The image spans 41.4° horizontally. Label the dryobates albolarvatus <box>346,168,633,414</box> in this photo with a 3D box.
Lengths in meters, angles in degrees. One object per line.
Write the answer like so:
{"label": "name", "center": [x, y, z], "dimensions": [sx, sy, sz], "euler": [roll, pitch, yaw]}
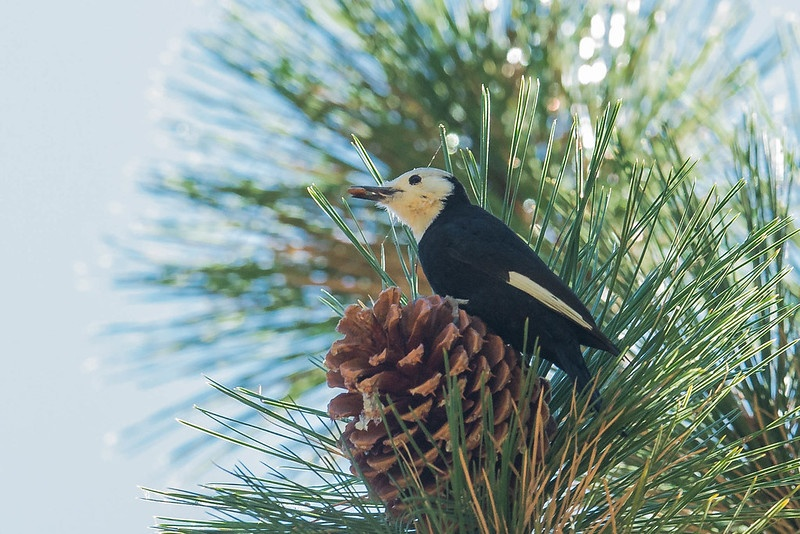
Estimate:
{"label": "dryobates albolarvatus", "center": [0.219, 0.039, 2.713], "dimensions": [0.318, 0.953, 0.384], "euler": [79, -149, -68]}
